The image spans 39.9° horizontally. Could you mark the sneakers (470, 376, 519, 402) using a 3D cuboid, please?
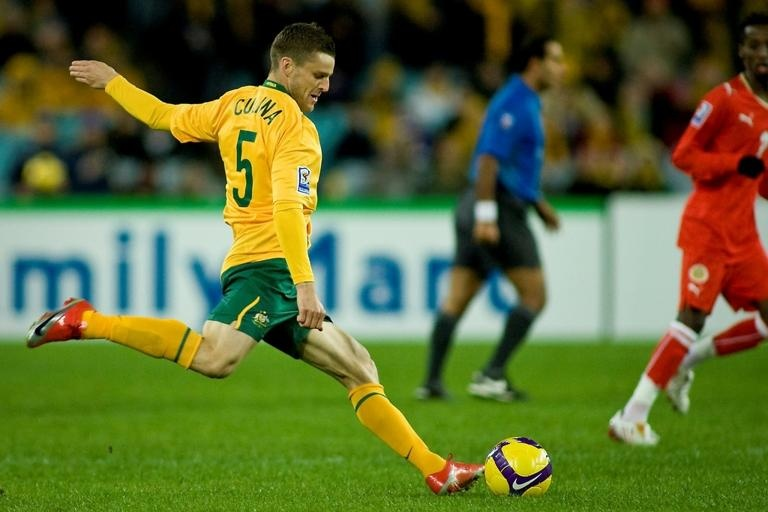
[{"bbox_3d":[1.158,1.313,10.446,0.571,0.282,0.194,7,0,-10],"label":"sneakers"}]

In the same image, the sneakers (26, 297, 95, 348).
[{"bbox_3d":[-2.324,0.538,7.662,0.450,0.292,0.211,-36,-29,-14],"label":"sneakers"}]

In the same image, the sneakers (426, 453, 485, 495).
[{"bbox_3d":[0.503,1.592,7.664,0.496,0.277,0.188,-15,-22,-8],"label":"sneakers"}]

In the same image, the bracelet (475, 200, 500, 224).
[{"bbox_3d":[0.954,-0.418,9.826,0.200,0.185,0.189,2,-8,-8],"label":"bracelet"}]
